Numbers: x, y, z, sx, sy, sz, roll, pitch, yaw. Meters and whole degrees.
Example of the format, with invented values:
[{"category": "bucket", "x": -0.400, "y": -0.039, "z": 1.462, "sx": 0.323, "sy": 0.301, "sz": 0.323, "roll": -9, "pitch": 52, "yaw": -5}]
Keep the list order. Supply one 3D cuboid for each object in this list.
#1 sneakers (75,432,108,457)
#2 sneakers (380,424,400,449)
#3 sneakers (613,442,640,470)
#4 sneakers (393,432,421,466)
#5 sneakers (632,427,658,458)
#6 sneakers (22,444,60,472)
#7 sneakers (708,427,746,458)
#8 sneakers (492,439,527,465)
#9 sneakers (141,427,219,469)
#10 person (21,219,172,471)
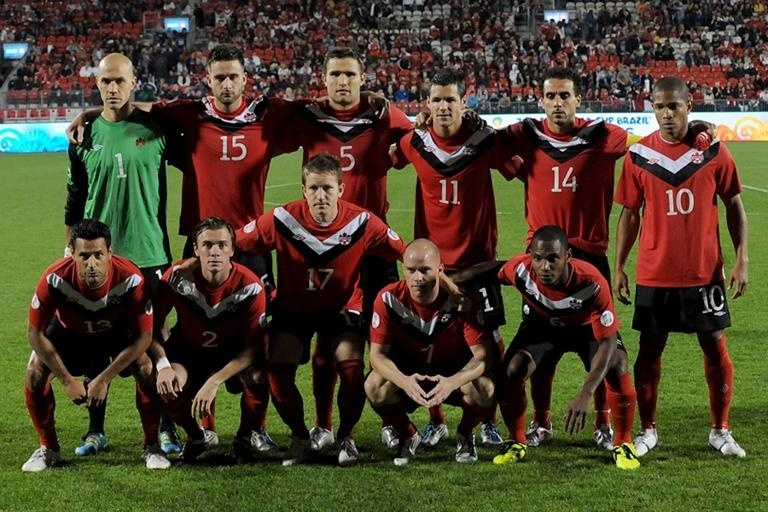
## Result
[{"category": "sneakers", "x": -2.485, "y": 1.612, "z": 7.929, "sx": 0.114, "sy": 0.135, "sz": 0.317, "roll": 0, "pitch": -5, "yaw": 21}, {"category": "sneakers", "x": 0.057, "y": 1.591, "z": 8.073, "sx": 0.098, "sy": 0.124, "sz": 0.272, "roll": -4, "pitch": -3, "yaw": -20}, {"category": "sneakers", "x": 2.008, "y": 1.663, "z": 7.680, "sx": 0.208, "sy": 0.188, "sz": 0.161, "roll": -1, "pitch": 2, "yaw": 13}, {"category": "sneakers", "x": 0.194, "y": 1.647, "z": 7.802, "sx": 0.120, "sy": 0.133, "sz": 0.336, "roll": -1, "pitch": 2, "yaw": 15}, {"category": "sneakers", "x": 2.216, "y": 1.589, "z": 7.872, "sx": 0.113, "sy": 0.133, "sz": 0.342, "roll": -4, "pitch": -3, "yaw": 35}, {"category": "sneakers", "x": -2.828, "y": 1.695, "z": 7.695, "sx": 0.134, "sy": 0.157, "sz": 0.348, "roll": 4, "pitch": -4, "yaw": 23}, {"category": "sneakers", "x": 2.878, "y": 1.578, "z": 7.804, "sx": 0.133, "sy": 0.150, "sz": 0.347, "roll": -3, "pitch": -1, "yaw": -14}, {"category": "sneakers", "x": 1.061, "y": 1.661, "z": 7.781, "sx": 0.294, "sy": 0.123, "sz": 0.141, "roll": 1, "pitch": -4, "yaw": -30}, {"category": "sneakers", "x": -1.688, "y": 1.648, "z": 7.886, "sx": 0.223, "sy": 0.262, "sz": 0.626, "roll": 27, "pitch": 15, "yaw": 37}, {"category": "person", "x": -2.445, "y": 0.738, "z": 7.781, "sx": 1.159, "sy": 2.100, "sz": 0.535, "roll": -3, "pitch": 2, "yaw": -13}]
